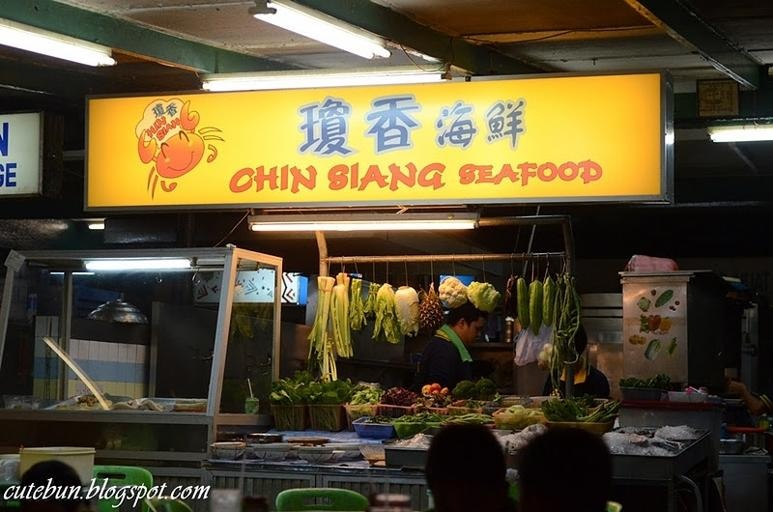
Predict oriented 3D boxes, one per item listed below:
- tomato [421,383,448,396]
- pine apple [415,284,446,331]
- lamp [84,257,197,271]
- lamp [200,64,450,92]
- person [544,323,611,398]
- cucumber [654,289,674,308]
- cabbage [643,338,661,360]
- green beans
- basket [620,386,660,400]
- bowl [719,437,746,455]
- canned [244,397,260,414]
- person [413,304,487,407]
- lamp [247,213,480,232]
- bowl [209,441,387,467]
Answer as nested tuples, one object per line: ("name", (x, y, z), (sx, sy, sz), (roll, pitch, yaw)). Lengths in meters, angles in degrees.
("tomato", (0.457, 1.294, 8.184), (0.191, 0.095, 0.111), (2, 10, 12))
("pine apple", (0.457, 0.547, 8.850), (0.250, 0.436, 0.234), (-8, 2, -17))
("lamp", (-2.230, 0.081, 7.563), (1.024, 0.124, 0.263), (0, -4, 23))
("lamp", (-0.548, -1.493, 7.115), (2.048, 0.146, 0.221), (0, -3, 9))
("person", (1.927, 1.054, 8.846), (0.645, 0.964, 0.691), (1, 3, 23))
("cucumber", (3.043, 0.469, 9.303), (0.107, 0.249, 0.035), (46, 17, 16))
("cabbage", (2.929, 1.019, 9.359), (0.143, 0.222, 0.096), (24, 9, -9))
("green beans", (1.658, 0.662, 7.955), (0.319, 1.071, 0.332), (4, 6, 32))
("basket", (2.262, 1.228, 7.563), (0.225, 0.064, 0.150), (2, -2, 12))
("bowl", (3.507, 1.929, 8.578), (0.291, 0.154, 0.116), (2, -4, -18))
("canned", (-1.232, 1.369, 7.736), (0.140, 0.144, 0.140), (0, -10, 4))
("person", (0.694, 1.031, 9.068), (0.752, 0.982, 0.640), (2, 6, 35))
("lamp", (-0.219, -0.317, 7.656), (2.131, 0.130, 0.296), (0, -3, 17))
("bowl", (-0.748, 1.587, 6.903), (1.186, 0.200, 0.874), (-4, -1, 15))
